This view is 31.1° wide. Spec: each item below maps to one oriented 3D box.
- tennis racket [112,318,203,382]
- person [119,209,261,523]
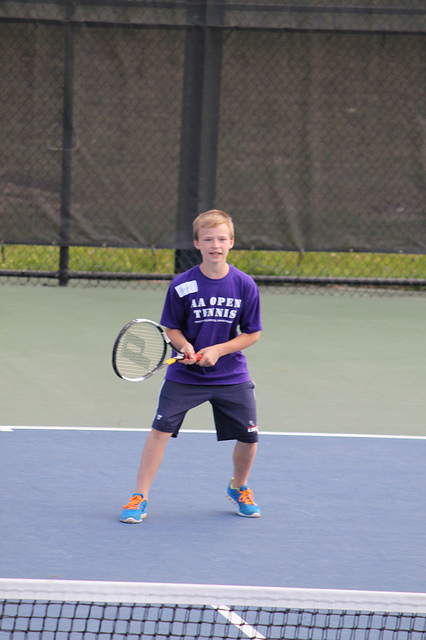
[{"bbox_3d":[-0.204,0.118,2.903,0.478,0.186,0.048,13,23,-34],"label":"tennis racket"},{"bbox_3d":[-0.052,0.170,2.839,0.525,1.143,0.318,2,9,-5],"label":"person"}]
